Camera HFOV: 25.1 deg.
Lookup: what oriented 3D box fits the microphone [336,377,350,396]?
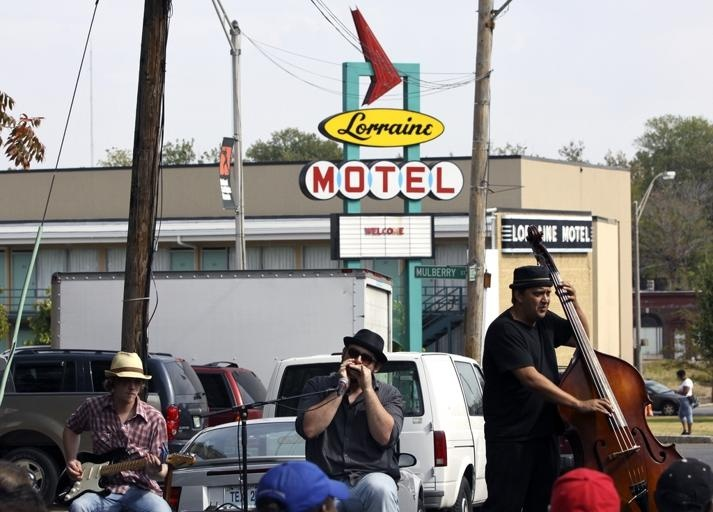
[{"bbox_3d":[-0.218,2.172,26.784,0.184,0.298,0.301,-3,-8,30],"label":"microphone"}]
